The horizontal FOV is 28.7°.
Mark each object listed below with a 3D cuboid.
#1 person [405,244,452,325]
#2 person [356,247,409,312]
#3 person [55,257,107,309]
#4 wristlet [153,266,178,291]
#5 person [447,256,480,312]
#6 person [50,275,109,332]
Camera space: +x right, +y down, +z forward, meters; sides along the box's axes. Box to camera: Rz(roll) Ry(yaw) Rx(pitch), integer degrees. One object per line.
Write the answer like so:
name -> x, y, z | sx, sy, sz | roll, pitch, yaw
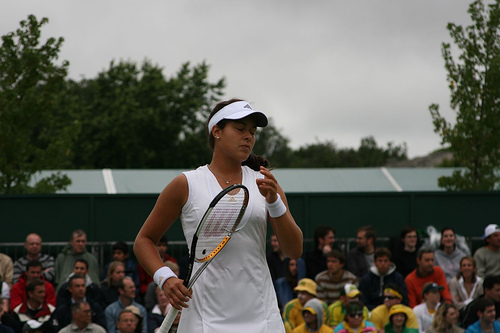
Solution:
person -> 3.097, 2.065, 17.348 | 0.780, 1.322, 0.804 | -4, -6, 9
person -> 2.282, 1.953, 17.285 | 0.875, 1.073, 0.544 | -4, -6, 7
person -> -3.001, 2.034, 17.095 | 0.704, 0.522, 1.382 | 1, 27, -18
wristlet -> -1.156, 1.467, 13.115 | 0.270, 0.291, 0.272 | 4, 9, -21
person -> 3.697, 2.073, 17.595 | 0.652, 0.934, 0.516 | 0, -6, -30
person -> -2.920, 2.364, 16.740 | 0.876, 0.517, 1.559 | 1, 31, -22
